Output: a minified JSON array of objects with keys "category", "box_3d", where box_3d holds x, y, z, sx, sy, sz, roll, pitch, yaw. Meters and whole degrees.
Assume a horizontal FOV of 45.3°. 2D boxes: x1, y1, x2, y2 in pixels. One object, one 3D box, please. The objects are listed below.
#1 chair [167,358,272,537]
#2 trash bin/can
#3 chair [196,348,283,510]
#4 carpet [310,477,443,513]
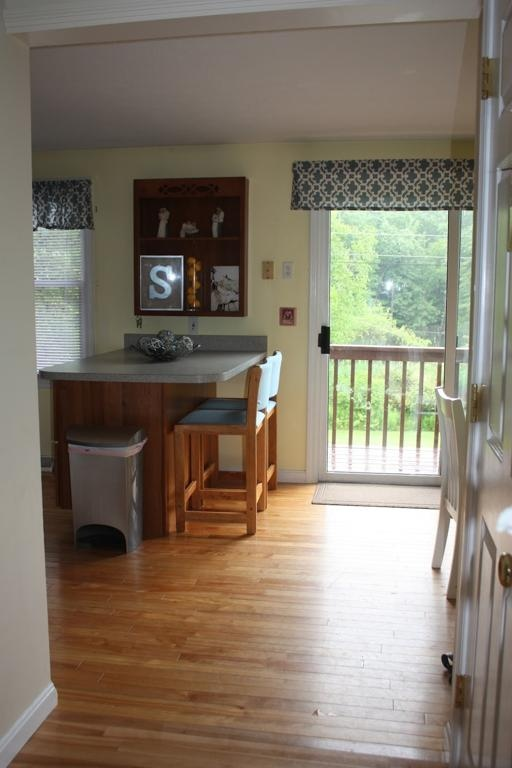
[{"category":"chair","box_3d":[-0.172,0.313,3.557,0.469,0.935,0.752,5,12,15]},{"category":"trash bin/can","box_3d":[-0.751,0.484,3.059,0.365,0.614,0.367,4,13,9]},{"category":"chair","box_3d":[0.015,0.236,3.740,0.631,1.304,0.654,1,5,5]},{"category":"carpet","box_3d":[0.770,0.707,3.943,0.817,0.024,0.537,1,5,8]}]
